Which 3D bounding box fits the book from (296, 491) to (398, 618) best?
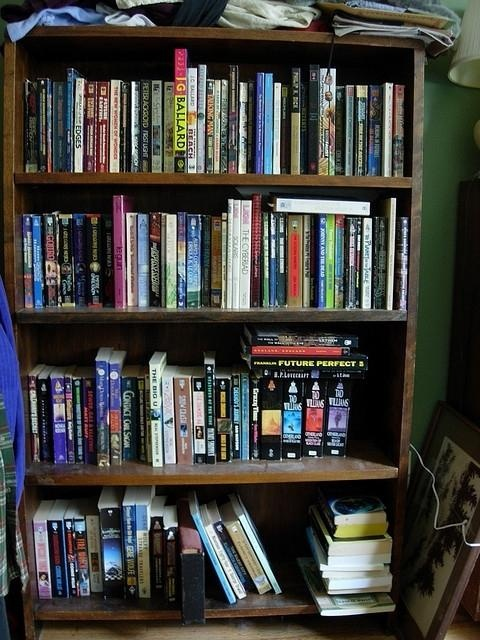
[{"bbox_3d":[0.260,0.604,1.716,0.259,0.311,0.332,0,21,-6],"label":"book"}]
